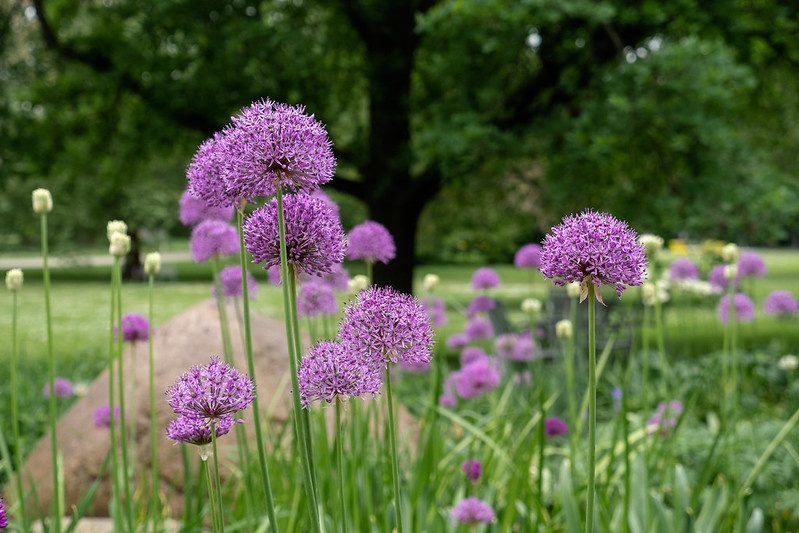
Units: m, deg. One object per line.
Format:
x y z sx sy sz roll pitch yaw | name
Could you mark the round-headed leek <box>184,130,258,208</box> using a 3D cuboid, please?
-1.147 -0.557 5.568 0.421 0.498 0.440 -3 2 0 | round-headed leek
